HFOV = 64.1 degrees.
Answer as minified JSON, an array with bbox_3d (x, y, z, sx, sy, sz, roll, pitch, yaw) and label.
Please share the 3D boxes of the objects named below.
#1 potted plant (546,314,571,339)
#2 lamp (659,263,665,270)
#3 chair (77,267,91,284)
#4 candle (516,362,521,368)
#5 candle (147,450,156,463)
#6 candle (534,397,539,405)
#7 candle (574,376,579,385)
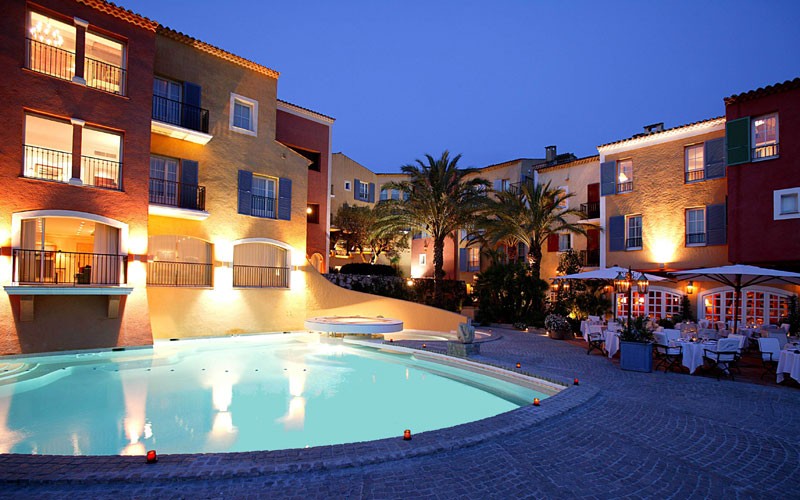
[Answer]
[{"bbox_3d":[8.355,4.094,34.249,1.145,1.315,1.261,1,-1,-21],"label":"potted plant"},{"bbox_3d":[15.039,0.957,36.573,0.323,0.329,0.607,3,0,20],"label":"lamp"},{"bbox_3d":[-14.956,1.258,30.330,0.621,0.828,0.506,-7,-11,33],"label":"chair"},{"bbox_3d":[5.019,4.920,27.167,0.160,0.156,0.164,-5,1,11],"label":"candle"},{"bbox_3d":[-8.160,6.850,21.102,0.288,0.382,0.103,2,1,-4],"label":"candle"},{"bbox_3d":[5.083,5.691,23.858,0.199,0.219,0.227,2,-11,-30],"label":"candle"},{"bbox_3d":[7.016,5.240,25.422,0.204,0.216,0.225,-1,-2,-21],"label":"candle"}]
